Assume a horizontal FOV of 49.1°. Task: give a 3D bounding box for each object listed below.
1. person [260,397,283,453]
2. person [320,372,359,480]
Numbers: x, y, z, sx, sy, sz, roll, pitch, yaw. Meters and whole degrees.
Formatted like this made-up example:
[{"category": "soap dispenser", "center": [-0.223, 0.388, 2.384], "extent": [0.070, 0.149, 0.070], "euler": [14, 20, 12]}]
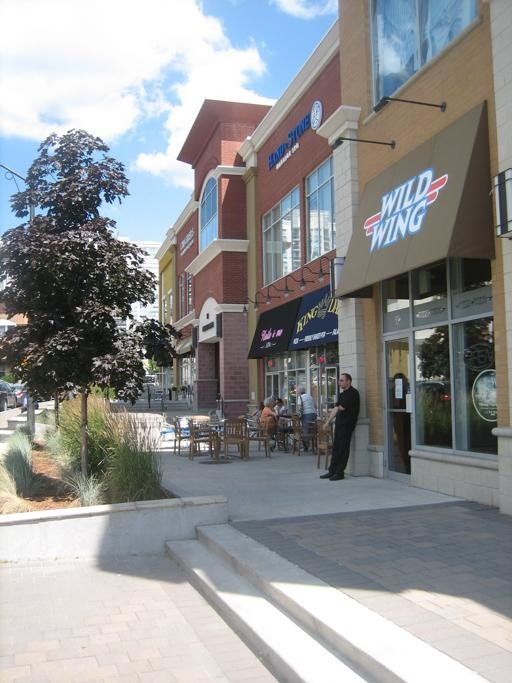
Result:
[{"category": "person", "center": [0.415, 2.186, 15.423], "extent": [0.511, 1.304, 0.551], "euler": [-3, 10, 29]}, {"category": "person", "center": [1.476, 1.504, 9.976], "extent": [0.583, 1.868, 0.593], "euler": [4, -5, -17]}]
